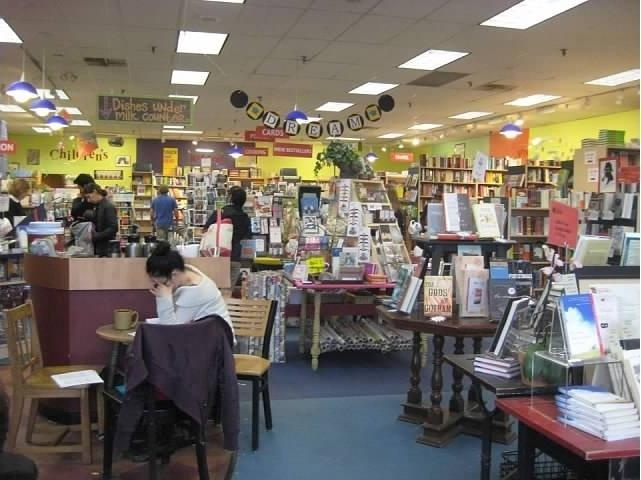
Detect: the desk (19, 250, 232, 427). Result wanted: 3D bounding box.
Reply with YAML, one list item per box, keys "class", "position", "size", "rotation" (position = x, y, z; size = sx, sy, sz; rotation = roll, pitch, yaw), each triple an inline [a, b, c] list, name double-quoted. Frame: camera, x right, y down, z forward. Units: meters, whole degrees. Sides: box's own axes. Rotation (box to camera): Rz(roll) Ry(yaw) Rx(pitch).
- class: "desk"
  position: [-2.017, 0.571, 5.200]
  size: [1.900, 1.849, 1.279]
  rotation: [-2, 3, -35]

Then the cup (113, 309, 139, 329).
- class: "cup"
  position: [-1.629, 0.663, 4.416]
  size: [0.247, 0.167, 0.158]
  rotation: [4, -4, -41]

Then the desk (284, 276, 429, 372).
- class: "desk"
  position: [0.307, 1.054, 6.855]
  size: [1.160, 0.734, 1.289]
  rotation: [0, 3, -10]

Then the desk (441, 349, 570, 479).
- class: "desk"
  position: [1.145, 1.313, 3.562]
  size: [0.804, 0.753, 0.804]
  rotation: [1, 0, -13]

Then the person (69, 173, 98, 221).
- class: "person"
  position: [-3.475, -0.696, 7.625]
  size: [0.283, 0.219, 0.769]
  rotation: [20, -15, -16]

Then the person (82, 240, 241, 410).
- class: "person"
  position: [-1.128, 0.575, 4.118]
  size: [0.683, 1.119, 0.494]
  rotation: [2, 22, -18]
